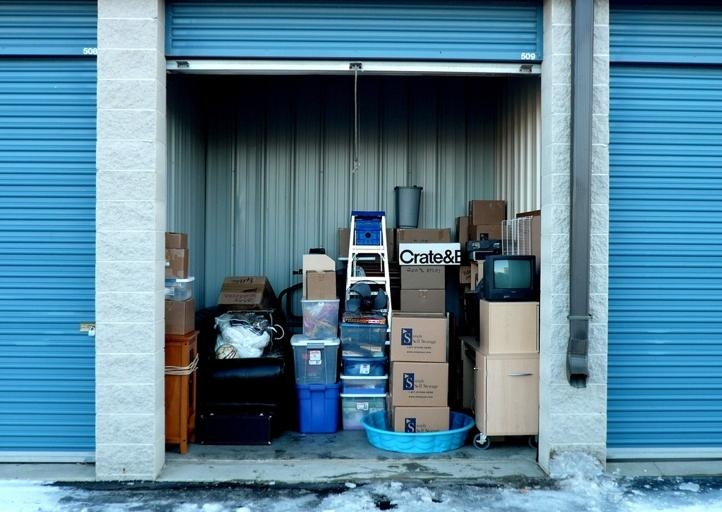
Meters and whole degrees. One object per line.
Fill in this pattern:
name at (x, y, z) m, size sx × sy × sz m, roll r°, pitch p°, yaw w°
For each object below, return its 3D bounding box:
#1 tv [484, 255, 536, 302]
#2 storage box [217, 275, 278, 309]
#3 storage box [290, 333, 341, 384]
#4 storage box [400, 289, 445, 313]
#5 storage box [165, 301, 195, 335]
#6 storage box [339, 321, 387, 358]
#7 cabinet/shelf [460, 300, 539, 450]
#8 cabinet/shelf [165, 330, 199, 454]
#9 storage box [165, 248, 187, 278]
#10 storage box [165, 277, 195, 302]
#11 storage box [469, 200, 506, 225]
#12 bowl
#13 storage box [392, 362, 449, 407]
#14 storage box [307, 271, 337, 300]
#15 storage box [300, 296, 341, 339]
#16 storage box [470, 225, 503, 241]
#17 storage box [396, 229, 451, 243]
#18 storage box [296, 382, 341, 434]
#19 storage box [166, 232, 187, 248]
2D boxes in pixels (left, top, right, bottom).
tv at (1.278, 0.197, 7.101) m, size 0.478 × 0.392 × 0.197 m, roll -1°, pitch 1°, yaw 7°
storage box at (-1.166, 0.408, 8.225) m, size 0.405 × 0.229 × 0.387 m, roll -2°, pitch 31°, yaw 2°
storage box at (-0.403, 0.945, 7.499) m, size 0.430 × 0.424 × 0.176 m, roll -1°, pitch 1°, yaw 6°
storage box at (0.599, 0.439, 8.027) m, size 0.422 × 0.230 × 0.094 m, roll -2°, pitch 1°, yaw -9°
storage box at (-1.508, 0.527, 7.025) m, size 0.285 × 0.245 × 0.272 m, roll 1°, pitch 3°, yaw 13°
storage box at (0.019, 0.759, 7.573) m, size 0.368 × 0.202 × 0.351 m, roll 1°, pitch -1°, yaw -1°
cabinet/shelf at (1.247, 0.942, 7.263) m, size 0.647 × 1.067 × 0.841 m, roll 3°, pitch 4°, yaw 0°
cabinet/shelf at (-1.513, 1.158, 7.047) m, size 0.376 × 0.992 × 0.254 m, roll -2°, pitch 1°, yaw -33°
storage box at (-1.576, 0.079, 7.109) m, size 0.244 × 0.207 × 0.221 m, roll 0°, pitch 2°, yaw -6°
storage box at (-1.570, 0.290, 7.151) m, size 0.211 × 0.115 × 0.201 m, roll 1°, pitch 2°, yaw 8°
storage box at (1.337, -0.453, 8.615) m, size 0.471 × 0.266 × 0.238 m, roll 0°, pitch -3°, yaw -1°
bowl at (0.496, 1.529, 7.164) m, size 0.972 × 0.275 × 0.471 m, roll -1°, pitch 2°, yaw 4°
storage box at (0.513, 1.110, 7.154) m, size 0.526 × 0.382 × 0.431 m, roll 0°, pitch 0°, yaw 1°
storage box at (-0.374, 0.278, 7.731) m, size 0.281 × 0.259 × 0.264 m, roll -2°, pitch 1°, yaw -6°
storage box at (-0.355, 0.591, 7.573) m, size 0.372 × 0.312 × 0.349 m, roll 0°, pitch -2°, yaw -1°
storage box at (1.278, -0.244, 8.628) m, size 0.354 × 0.157 × 0.190 m, roll -1°, pitch 2°, yaw 22°
storage box at (0.647, -0.208, 8.658) m, size 0.533 × 0.143 × 0.086 m, roll -1°, pitch 1°, yaw 8°
storage box at (-0.380, 1.375, 7.446) m, size 0.391 × 0.445 × 0.099 m, roll -1°, pitch 1°, yaw -1°
storage box at (-1.605, -0.137, 7.222) m, size 0.150 × 0.100 × 0.142 m, roll 1°, pitch 2°, yaw 10°
